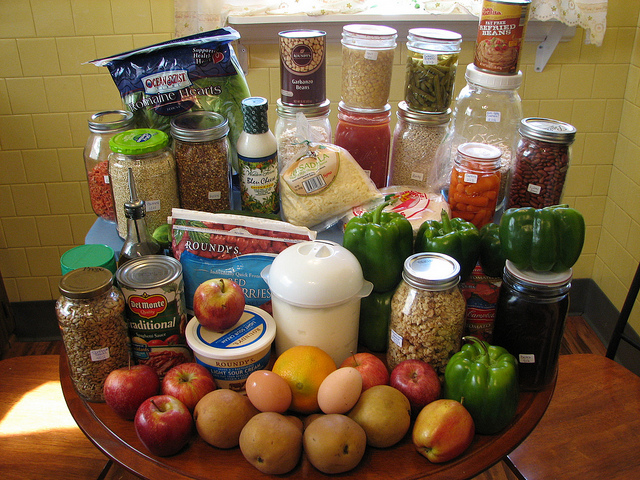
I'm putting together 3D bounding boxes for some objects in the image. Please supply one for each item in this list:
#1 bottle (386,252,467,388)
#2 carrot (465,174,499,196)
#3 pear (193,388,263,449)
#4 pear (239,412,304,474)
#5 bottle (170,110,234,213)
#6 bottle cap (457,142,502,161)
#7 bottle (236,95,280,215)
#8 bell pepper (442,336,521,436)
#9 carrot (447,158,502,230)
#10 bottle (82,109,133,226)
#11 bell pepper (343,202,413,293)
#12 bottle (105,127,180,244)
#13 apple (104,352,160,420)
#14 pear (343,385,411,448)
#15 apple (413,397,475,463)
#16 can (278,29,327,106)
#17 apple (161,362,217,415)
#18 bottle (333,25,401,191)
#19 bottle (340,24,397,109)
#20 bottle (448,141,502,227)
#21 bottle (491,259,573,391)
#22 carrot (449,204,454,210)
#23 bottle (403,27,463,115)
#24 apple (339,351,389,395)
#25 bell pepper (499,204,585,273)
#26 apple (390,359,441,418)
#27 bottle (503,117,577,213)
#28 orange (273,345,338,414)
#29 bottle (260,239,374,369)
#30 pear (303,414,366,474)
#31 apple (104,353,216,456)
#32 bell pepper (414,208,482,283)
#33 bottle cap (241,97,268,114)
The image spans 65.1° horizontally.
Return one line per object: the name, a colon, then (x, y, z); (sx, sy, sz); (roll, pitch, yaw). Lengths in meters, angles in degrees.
bottle: (0.239, 0.189, 1.198); (0.163, 0.303, 0.175); (5, 23, -2)
carrot: (0.439, -0.145, 1.353); (0.096, 0.034, 0.039); (-25, 3, 5)
pear: (-0.203, 0.367, 1.086); (0.132, 0.117, 0.128); (12, 45, -2)
pear: (-0.097, 0.389, 1.003); (0.114, 0.116, 0.114); (0, -16, -43)
bottle: (-0.339, -0.220, 1.453); (0.209, 0.276, 0.219); (4, 38, -3)
bottle cap: (0.433, -0.240, 1.363); (0.077, 0.020, 0.079); (20, 29, 38)
bottle: (-0.173, -0.218, 1.387); (0.114, 0.304, 0.101); (-25, 40, -32)
bell pepper: (0.368, 0.332, 1.131); (0.166, 0.243, 0.165); (-4, 3, -31)
carrot: (0.440, -0.135, 1.428); (0.138, 0.243, 0.143); (3, 33, 13)
bottle: (-0.635, -0.171, 1.551); (0.132, 0.414, 0.104); (29, 41, 32)
bell pepper: (0.146, 0.008, 1.255); (0.158, 0.219, 0.157); (-8, 16, -16)
bottle: (-0.492, -0.112, 1.453); (0.153, 0.352, 0.177); (-19, 38, -30)
apple: (-0.422, 0.333, 1.119); (0.117, 0.138, 0.118); (-3, 2, 28)
pear: (0.121, 0.360, 1.102); (0.136, 0.124, 0.120); (-1, 54, -7)
apple: (0.277, 0.412, 1.053); (0.105, 0.112, 0.140); (-9, 48, 20)
can: (-0.053, -0.518, 1.501); (0.151, 0.191, 0.172); (-2, 30, -4)
apple: (-0.285, 0.308, 1.079); (0.093, 0.105, 0.099); (-5, 28, -12)
bottle: (0.140, -0.381, 1.609); (0.180, 0.562, 0.209); (8, 35, 10)
bottle: (0.115, -0.539, 1.572); (0.221, 0.313, 0.215); (1, 26, 0)
bottle: (0.420, -0.145, 1.428); (0.142, 0.238, 0.129); (-2, 23, 1)
bottle: (0.508, 0.198, 1.201); (0.143, 0.283, 0.146); (-3, 24, 1)
carrot: (0.370, -0.092, 1.404); (0.006, 0.011, 0.011); (-35, 32, -13)
bottle: (0.339, -0.529, 1.518); (0.164, 0.247, 0.167); (0, 41, 0)
apple: (0.097, 0.286, 1.110); (0.071, 0.095, 0.078); (-15, 8, -13)
bell pepper: (0.543, 0.012, 1.202); (0.183, 0.182, 0.195); (-6, -4, 2)
apple: (0.207, 0.310, 1.087); (0.104, 0.111, 0.110); (-3, 31, 11)
bottle: (0.638, -0.205, 1.450); (0.138, 0.263, 0.148); (-3, 36, 2)
orange: (-0.025, 0.296, 1.149); (0.137, 0.152, 0.134); (-2, 8, 6)
bottle: (0.013, 0.164, 1.215); (0.197, 0.255, 0.175); (10, 26, 20)
pear: (0.020, 0.383, 1.027); (0.102, 0.118, 0.139); (-7, 2, -11)
apple: (-0.364, 0.359, 1.098); (0.247, 0.108, 0.170); (35, 27, 35)
bell pepper: (0.326, 0.039, 1.263); (0.176, 0.227, 0.183); (0, 17, 26)
bottle cap: (-0.182, -0.371, 1.348); (0.051, 0.034, 0.054); (5, 24, 13)
